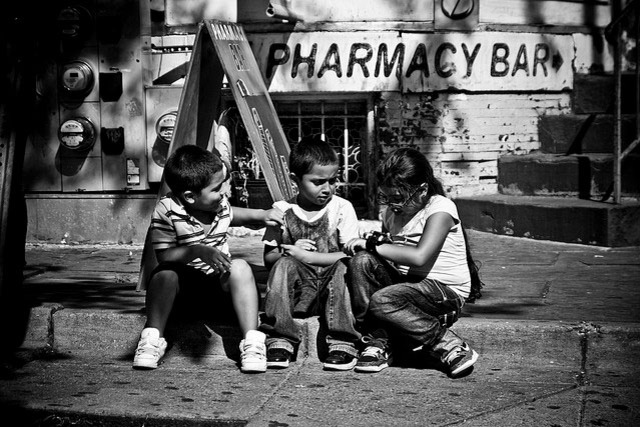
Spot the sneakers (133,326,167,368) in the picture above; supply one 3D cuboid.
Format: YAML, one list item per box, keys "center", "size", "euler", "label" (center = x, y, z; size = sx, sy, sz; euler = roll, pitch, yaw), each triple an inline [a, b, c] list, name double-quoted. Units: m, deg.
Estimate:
- center: [-1.252, 0.983, 4.917]
  size: [0.231, 0.309, 0.182]
  euler: [1, 2, -26]
  label: "sneakers"

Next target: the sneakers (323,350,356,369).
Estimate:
- center: [0.129, 1.065, 4.854]
  size: [0.106, 0.090, 0.252]
  euler: [-6, -12, 34]
  label: "sneakers"

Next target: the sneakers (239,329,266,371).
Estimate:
- center: [-0.485, 0.989, 4.804]
  size: [0.180, 0.299, 0.137]
  euler: [2, 2, -8]
  label: "sneakers"

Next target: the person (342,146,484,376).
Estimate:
- center: [0.674, 0.338, 4.956]
  size: [0.995, 1.633, 0.473]
  euler: [3, 2, 8]
  label: "person"
